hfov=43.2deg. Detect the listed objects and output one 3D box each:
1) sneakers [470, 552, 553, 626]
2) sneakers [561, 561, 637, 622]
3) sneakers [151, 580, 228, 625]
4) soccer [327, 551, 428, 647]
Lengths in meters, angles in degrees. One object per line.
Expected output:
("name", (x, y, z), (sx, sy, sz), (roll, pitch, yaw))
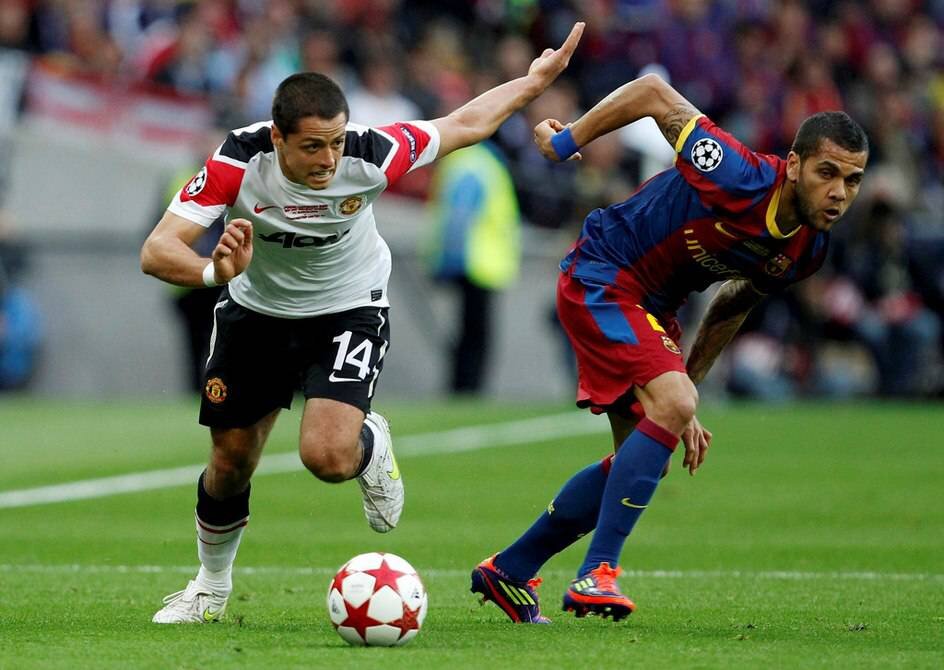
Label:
("sneakers", (0.262, 1.426, 6.739), (0.564, 0.264, 0.196), (32, 20, -23))
("sneakers", (0.671, 1.347, 6.323), (0.431, 0.249, 0.168), (-14, -24, 40))
("sneakers", (-1.558, 1.468, 6.545), (0.363, 0.169, 0.173), (1, -1, -29))
("soccer", (-0.491, 1.430, 6.202), (0.439, 0.440, 0.429), (6, -26, -6))
